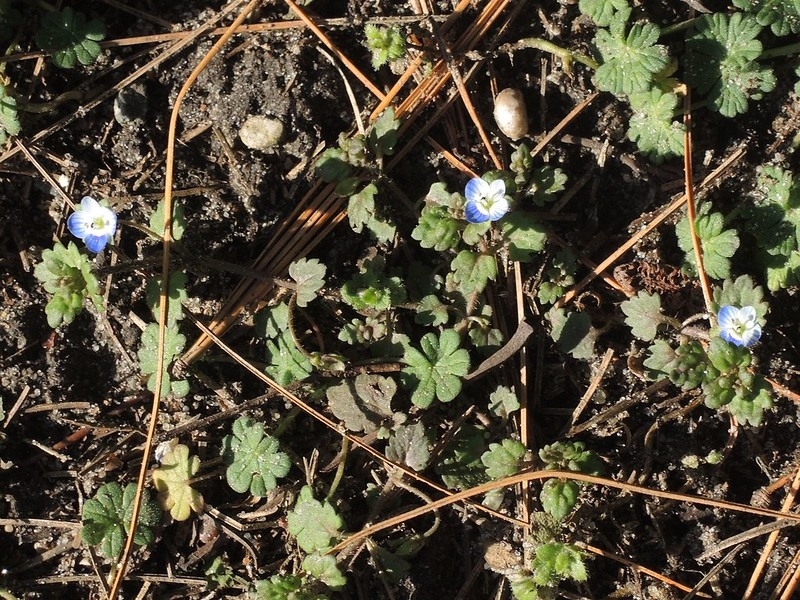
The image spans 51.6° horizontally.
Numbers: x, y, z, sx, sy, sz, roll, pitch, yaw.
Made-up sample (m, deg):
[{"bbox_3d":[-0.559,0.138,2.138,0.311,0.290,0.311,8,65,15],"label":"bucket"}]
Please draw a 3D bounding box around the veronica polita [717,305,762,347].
[{"bbox_3d":[1.706,0.116,4.168,0.193,0.099,0.214,-25,20,-34],"label":"veronica polita"}]
